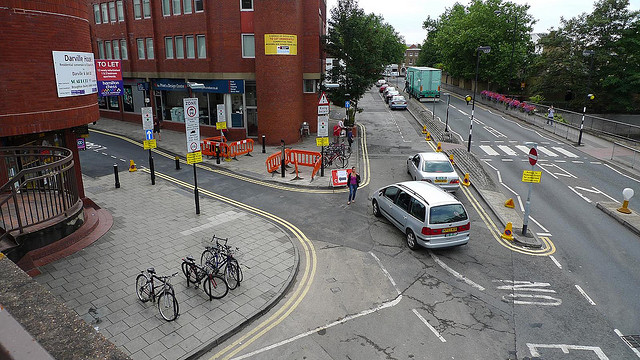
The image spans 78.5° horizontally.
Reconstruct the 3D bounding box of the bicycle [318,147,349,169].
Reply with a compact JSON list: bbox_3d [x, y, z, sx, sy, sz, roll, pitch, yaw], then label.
[{"bbox_3d":[1.033,-1.653,29.245,2.457,1.304,1.221,-2,25,-3],"label":"bicycle"}]

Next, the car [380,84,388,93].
[{"bbox_3d":[12.550,-18.596,78.358,1.665,0.827,2.793,-2,23,8],"label":"car"}]

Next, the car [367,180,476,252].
[{"bbox_3d":[4.949,1.557,21.017,2.969,1.898,5.495,-7,20,-19],"label":"car"}]

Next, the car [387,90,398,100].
[{"bbox_3d":[11.111,-13.311,60.826,1.213,0.837,2.618,7,23,24],"label":"car"}]

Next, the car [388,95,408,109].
[{"bbox_3d":[11.018,-11.027,55.370,2.045,1.645,2.366,-1,19,-3],"label":"car"}]

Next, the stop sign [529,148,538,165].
[{"bbox_3d":[11.123,-1.249,20.293,0.312,0.986,0.521,8,21,20],"label":"stop sign"}]

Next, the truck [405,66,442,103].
[{"bbox_3d":[16.233,-15.909,62.791,4.044,4.615,9.930,-3,22,-3],"label":"truck"}]

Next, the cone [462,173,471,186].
[{"bbox_3d":[9.976,-0.008,26.535,0.710,0.766,0.619,2,19,18],"label":"cone"}]

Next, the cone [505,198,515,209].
[{"bbox_3d":[11.505,1.410,23.600,0.507,0.415,0.307,-11,20,-26],"label":"cone"}]

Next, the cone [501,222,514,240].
[{"bbox_3d":[9.868,2.654,20.527,0.777,0.801,0.758,3,14,28],"label":"cone"}]
